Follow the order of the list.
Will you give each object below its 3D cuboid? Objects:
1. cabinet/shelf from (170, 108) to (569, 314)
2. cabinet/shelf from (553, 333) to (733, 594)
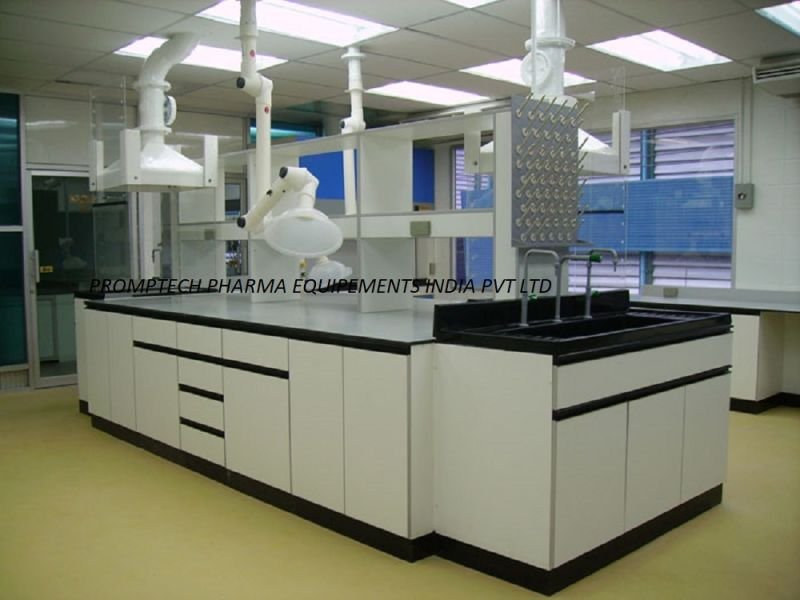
[{"bbox_3d":[-0.183,-0.531,4.161,1.845,1.235,2.375,-9,11,-36],"label":"cabinet/shelf"},{"bbox_3d":[1.107,0.776,2.974,1.081,0.754,0.541,-4,3,-43],"label":"cabinet/shelf"}]
